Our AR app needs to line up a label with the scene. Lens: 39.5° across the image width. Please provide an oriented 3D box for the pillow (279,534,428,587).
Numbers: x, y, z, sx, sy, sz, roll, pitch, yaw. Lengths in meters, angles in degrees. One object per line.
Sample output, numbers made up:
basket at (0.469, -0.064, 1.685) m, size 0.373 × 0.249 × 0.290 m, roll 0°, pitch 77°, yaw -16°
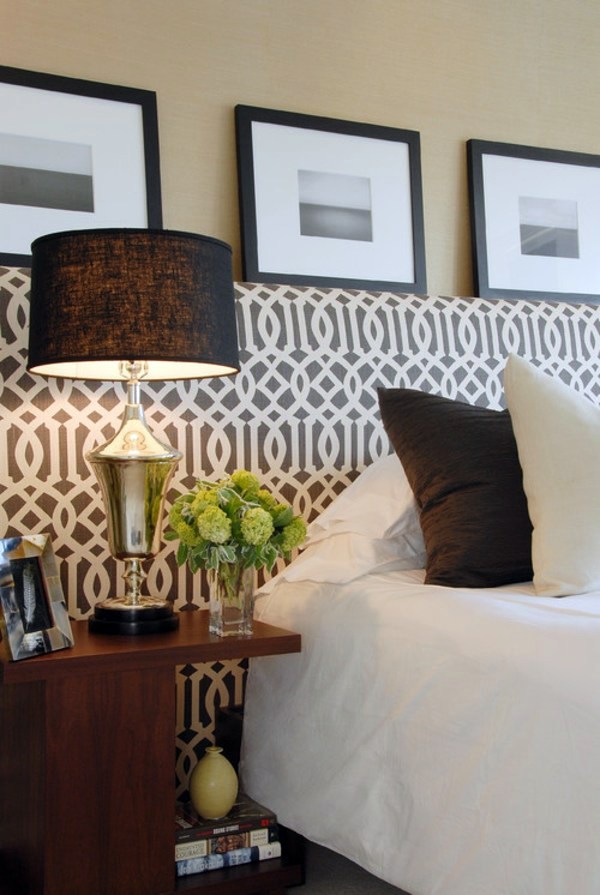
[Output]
pillow at (0.123, 0.239, 1.791) m, size 0.178 × 0.053 × 0.156 m, roll -1°, pitch -1°, yaw -35°

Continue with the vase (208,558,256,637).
vase at (-0.150, 0.281, 1.586) m, size 0.094 × 0.155 × 0.097 m, roll -4°, pitch -11°, yaw 24°

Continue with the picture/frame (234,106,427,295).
picture/frame at (0.061, -0.666, 2.267) m, size 0.664 × 0.550 × 0.026 m, roll 2°, pitch -7°, yaw -29°

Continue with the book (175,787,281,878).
book at (-0.134, 0.725, 1.548) m, size 0.164 × 0.058 × 0.160 m, roll 0°, pitch -1°, yaw -23°

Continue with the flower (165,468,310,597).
flower at (-0.118, 0.151, 1.566) m, size 0.219 × 0.188 × 0.216 m, roll 1°, pitch 1°, yaw -20°
